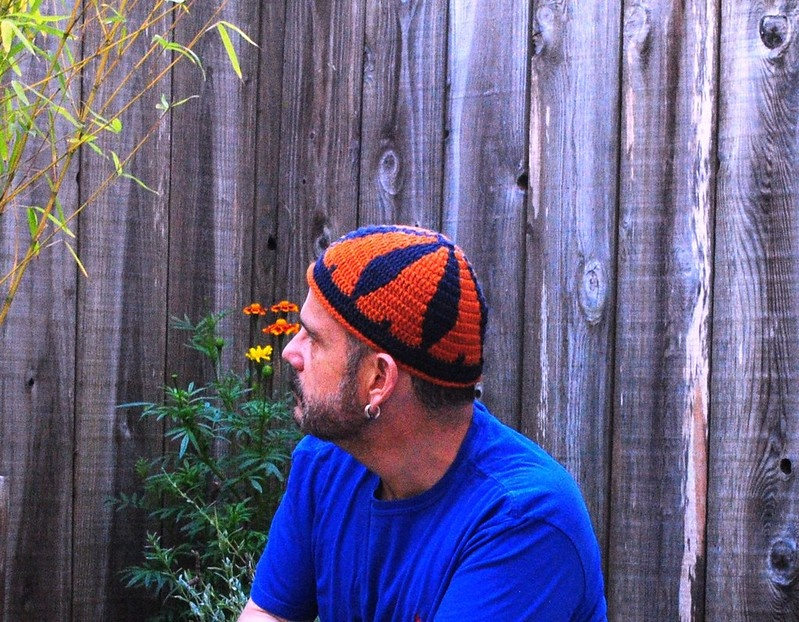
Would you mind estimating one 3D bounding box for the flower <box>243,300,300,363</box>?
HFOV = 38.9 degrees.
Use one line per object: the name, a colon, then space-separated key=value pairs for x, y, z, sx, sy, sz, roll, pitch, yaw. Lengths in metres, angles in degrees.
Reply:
flower: x=-0.413 y=0.060 z=3.629 sx=0.170 sy=0.345 sz=0.188 roll=2 pitch=-2 yaw=-18
